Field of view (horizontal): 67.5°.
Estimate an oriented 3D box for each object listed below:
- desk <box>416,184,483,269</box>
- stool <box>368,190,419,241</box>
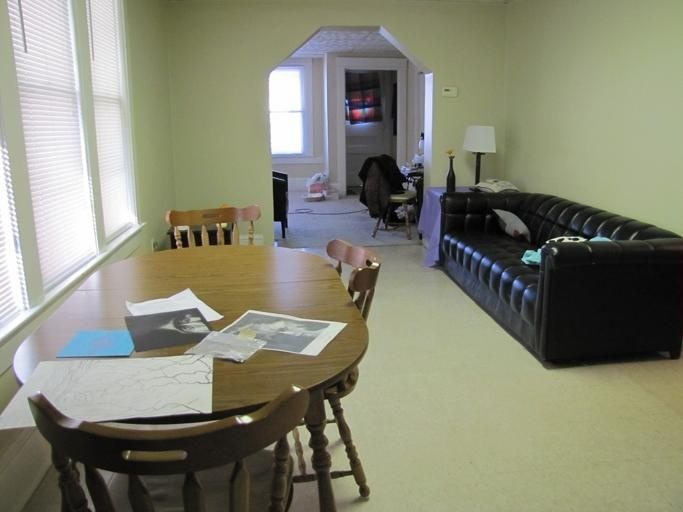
[{"bbox_3d":[1.123,-0.289,5.661,0.459,0.650,0.688,14,4,5],"label":"desk"},{"bbox_3d":[0.702,-0.675,6.907,0.589,0.612,0.900,1,17,9],"label":"stool"}]
